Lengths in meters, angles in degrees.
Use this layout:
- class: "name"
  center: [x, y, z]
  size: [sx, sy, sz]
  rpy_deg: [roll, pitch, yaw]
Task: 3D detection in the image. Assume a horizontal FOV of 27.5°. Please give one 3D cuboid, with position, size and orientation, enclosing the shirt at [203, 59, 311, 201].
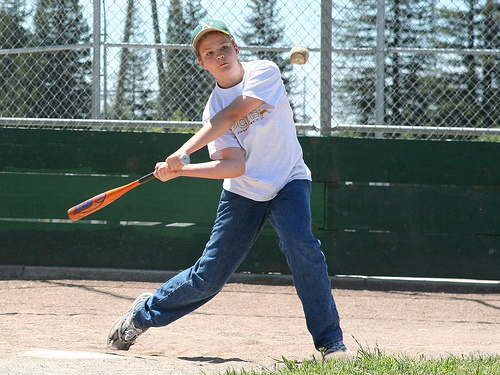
- class: "shirt"
  center: [0.077, -0.506, 9.569]
  size: [1.002, 1.188, 0.903]
  rpy_deg: [-12, 4, 25]

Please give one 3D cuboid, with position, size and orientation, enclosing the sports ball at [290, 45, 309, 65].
- class: "sports ball"
  center: [0.488, -1.343, 10.477]
  size: [0.180, 0.127, 0.175]
  rpy_deg: [12, -45, 12]
